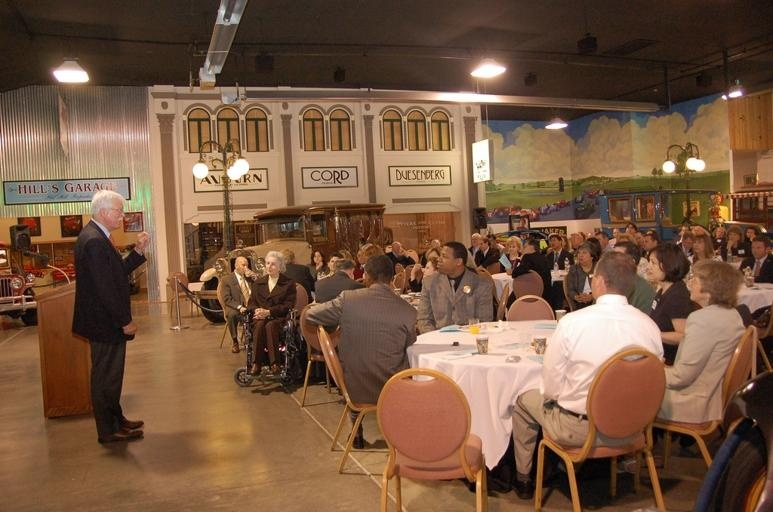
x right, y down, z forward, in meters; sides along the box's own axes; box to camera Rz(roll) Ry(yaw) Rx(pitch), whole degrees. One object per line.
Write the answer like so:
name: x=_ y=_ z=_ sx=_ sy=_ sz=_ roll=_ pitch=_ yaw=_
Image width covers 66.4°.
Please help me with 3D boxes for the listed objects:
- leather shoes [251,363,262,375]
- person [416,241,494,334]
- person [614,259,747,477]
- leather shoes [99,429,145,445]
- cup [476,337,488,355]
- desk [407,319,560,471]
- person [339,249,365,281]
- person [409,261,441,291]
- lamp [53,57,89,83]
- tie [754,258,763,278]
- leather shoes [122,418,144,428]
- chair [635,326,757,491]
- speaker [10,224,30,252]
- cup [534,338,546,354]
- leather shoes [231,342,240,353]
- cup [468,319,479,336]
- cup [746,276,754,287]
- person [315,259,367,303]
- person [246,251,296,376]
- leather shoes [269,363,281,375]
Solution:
leather shoes: x=-2.198 y=1.909 z=10.034 sx=0.156 sy=0.175 sz=0.163 roll=0 pitch=-2 yaw=-15
person: x=0.966 y=0.821 z=8.370 sx=1.043 sy=1.999 sz=0.960 roll=1 pitch=5 yaw=9
person: x=3.317 y=1.339 z=6.900 sx=1.071 sy=2.635 sz=1.351 roll=0 pitch=3 yaw=-44
leather shoes: x=-3.607 y=2.438 z=8.158 sx=0.616 sy=0.232 sz=0.205 roll=-4 pitch=2 yaw=-18
cup: x=1.087 y=1.017 z=6.711 sx=0.171 sy=0.187 sz=0.171 roll=-2 pitch=-3 yaw=0
desk: x=1.278 y=1.578 z=7.196 sx=1.570 sy=0.928 sz=1.564 roll=-3 pitch=-3 yaw=11
person: x=-0.741 y=0.197 z=13.766 sx=0.612 sy=0.820 sz=0.327 roll=-8 pitch=7 yaw=9
person: x=0.844 y=0.441 z=13.190 sx=0.598 sy=0.840 sz=0.614 roll=-1 pitch=7 yaw=-10
lamp: x=-7.543 y=-4.446 z=14.087 sx=0.650 sy=0.560 sz=0.905 roll=-7 pitch=10 yaw=-24
tie: x=7.087 y=0.225 z=11.179 sx=0.083 sy=0.304 sz=0.225 roll=14 pitch=-14 yaw=-2
leather shoes: x=-3.537 y=2.344 z=8.381 sx=0.370 sy=0.154 sz=0.123 roll=2 pitch=2 yaw=-18
chair: x=3.428 y=1.599 z=6.590 sx=0.845 sy=1.191 sz=0.824 roll=-3 pitch=13 yaw=17
speaker: x=-10.780 y=-0.522 z=17.381 sx=0.458 sy=0.775 sz=0.787 roll=-10 pitch=12 yaw=-34
cup: x=1.751 y=1.010 z=6.688 sx=0.163 sy=0.165 sz=0.159 roll=-1 pitch=-3 yaw=0
leather shoes: x=-3.147 y=1.910 z=12.329 sx=0.108 sy=0.186 sz=0.301 roll=3 pitch=-15 yaw=-18
cup: x=1.102 y=0.881 z=7.445 sx=0.145 sy=0.139 sz=0.145 roll=2 pitch=-2 yaw=0
cup: x=6.190 y=0.426 z=10.025 sx=0.147 sy=0.146 sz=0.149 roll=-1 pitch=3 yaw=0
person: x=-0.738 y=0.383 z=9.311 sx=0.493 sy=0.500 sz=0.950 roll=2 pitch=29 yaw=9
person: x=-1.958 y=0.956 z=10.230 sx=0.873 sy=1.929 sz=0.901 roll=-5 pitch=10 yaw=-10
leather shoes: x=-1.896 y=1.891 z=10.001 sx=0.214 sy=0.150 sz=0.182 roll=-1 pitch=10 yaw=9
